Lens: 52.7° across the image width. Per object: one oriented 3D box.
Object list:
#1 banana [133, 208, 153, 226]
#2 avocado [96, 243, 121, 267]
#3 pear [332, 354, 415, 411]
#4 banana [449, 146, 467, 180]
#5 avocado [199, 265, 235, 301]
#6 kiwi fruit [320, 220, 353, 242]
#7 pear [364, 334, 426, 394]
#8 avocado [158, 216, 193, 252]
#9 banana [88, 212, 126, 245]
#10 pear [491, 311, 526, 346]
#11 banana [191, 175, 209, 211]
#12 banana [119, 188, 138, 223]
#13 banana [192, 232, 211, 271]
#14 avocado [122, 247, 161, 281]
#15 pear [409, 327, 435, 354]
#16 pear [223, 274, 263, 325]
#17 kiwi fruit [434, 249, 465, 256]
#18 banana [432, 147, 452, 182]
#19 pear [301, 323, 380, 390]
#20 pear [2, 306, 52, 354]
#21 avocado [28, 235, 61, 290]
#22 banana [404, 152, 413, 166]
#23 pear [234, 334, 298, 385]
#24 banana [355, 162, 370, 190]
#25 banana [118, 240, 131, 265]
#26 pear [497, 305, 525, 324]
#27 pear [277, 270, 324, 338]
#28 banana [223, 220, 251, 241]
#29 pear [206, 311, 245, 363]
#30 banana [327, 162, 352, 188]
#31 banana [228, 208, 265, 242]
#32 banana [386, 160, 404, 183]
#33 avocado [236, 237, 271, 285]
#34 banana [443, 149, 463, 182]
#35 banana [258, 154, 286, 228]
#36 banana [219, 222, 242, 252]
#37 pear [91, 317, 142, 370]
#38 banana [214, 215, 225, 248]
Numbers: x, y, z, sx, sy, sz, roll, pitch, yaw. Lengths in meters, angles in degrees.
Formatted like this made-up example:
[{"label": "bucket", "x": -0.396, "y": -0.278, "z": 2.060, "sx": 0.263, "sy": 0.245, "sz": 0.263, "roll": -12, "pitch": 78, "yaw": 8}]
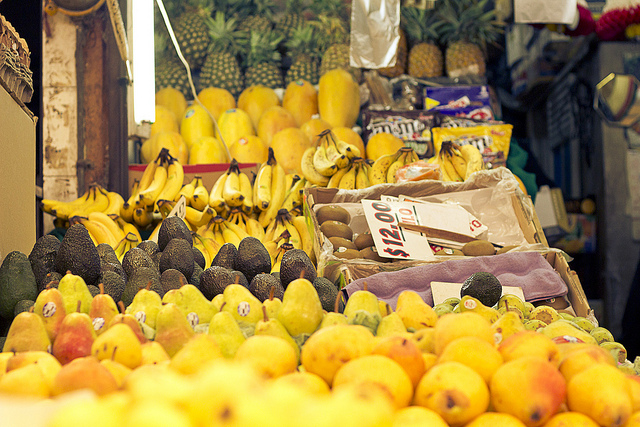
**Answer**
[{"label": "banana", "x": -1.276, "y": 0.027, "z": 4.660, "sx": 0.057, "sy": 0.083, "sz": 0.227, "roll": 13, "pitch": -21, "yaw": -1}, {"label": "avocado", "x": -1.104, "y": 0.215, "z": 3.370, "sx": 0.058, "sy": 0.169, "sz": 0.070, "roll": -19, "pitch": -5, "yaw": 32}, {"label": "pear", "x": 0.137, "y": 0.639, "z": 2.433, "sx": 0.250, "sy": 0.142, "sz": 0.246, "roll": 14, "pitch": -7, "yaw": -38}, {"label": "banana", "x": 1.055, "y": -0.398, "z": 4.994, "sx": 0.069, "sy": 0.287, "sz": 0.094, "roll": -21, "pitch": -22, "yaw": -3}, {"label": "avocado", "x": -0.512, "y": 0.335, "z": 3.145, "sx": 0.126, "sy": 0.111, "sz": 0.179, "roll": 0, "pitch": 4, "yaw": -4}, {"label": "kiwi fruit", "x": 0.106, "y": 0.101, "z": 4.023, "sx": 0.149, "sy": 0.095, "sz": 0.113, "roll": 9, "pitch": 9, "yaw": -37}, {"label": "pear", "x": 0.264, "y": 0.555, "z": 2.414, "sx": 0.182, "sy": 0.250, "sz": 0.188, "roll": 2, "pitch": 0, "yaw": -7}, {"label": "avocado", "x": -0.838, "y": 0.096, "z": 3.691, "sx": 0.154, "sy": 0.241, "sz": 0.130, "roll": -1, "pitch": -1, "yaw": -7}, {"label": "banana", "x": -1.460, "y": 0.106, "z": 4.421, "sx": 0.056, "sy": 0.216, "sz": 0.070, "roll": -38, "pitch": -11, "yaw": -7}, {"label": "pear", "x": 0.760, "y": 0.464, "z": 2.589, "sx": 0.097, "sy": 0.136, "sz": 0.081, "roll": 18, "pitch": -27, "yaw": 13}, {"label": "banana", "x": -0.892, "y": -0.139, "z": 4.797, "sx": 0.126, "sy": 0.181, "sz": 0.369, "roll": -8, "pitch": 20, "yaw": -5}, {"label": "banana", "x": -1.388, "y": -0.054, "z": 4.682, "sx": 0.074, "sy": 0.159, "sz": 0.238, "roll": 18, "pitch": 25, "yaw": -8}, {"label": "banana", "x": -0.721, "y": 0.239, "z": 3.926, "sx": 0.051, "sy": 0.206, "sz": 0.070, "roll": -28, "pitch": -5, "yaw": -1}, {"label": "avocado", "x": -0.930, "y": 0.239, "z": 3.323, "sx": 0.114, "sy": 0.223, "sz": 0.126, "roll": -29, "pitch": -3, "yaw": 16}, {"label": "pear", "x": 0.408, "y": 0.487, "z": 2.509, "sx": 0.070, "sy": 0.063, "sz": 0.098, "roll": -4, "pitch": 17, "yaw": 2}, {"label": "pear", "x": -0.330, "y": 0.385, "z": 2.752, "sx": 0.099, "sy": 0.212, "sz": 0.075, "roll": -11, "pitch": -32, "yaw": 0}, {"label": "kiwi fruit", "x": 0.790, "y": 0.239, "z": 3.951, "sx": 0.176, "sy": 0.038, "sz": 0.062, "roll": -3, "pitch": 4, "yaw": 6}, {"label": "banana", "x": 0.935, "y": -0.366, "z": 4.956, "sx": 0.132, "sy": 0.259, "sz": 0.150, "roll": -25, "pitch": 5, "yaw": -10}, {"label": "pear", "x": 0.047, "y": 0.494, "z": 2.542, "sx": 0.301, "sy": 0.267, "sz": 0.239, "roll": -15, "pitch": 17, "yaw": -1}, {"label": "pear", "x": -1.167, "y": 0.478, "z": 2.629, "sx": 0.154, "sy": 0.247, "sz": 0.166, "roll": 3, "pitch": -10, "yaw": -18}, {"label": "avocado", "x": -1.391, "y": 0.254, "z": 3.287, "sx": 0.124, "sy": 0.278, "sz": 0.138, "roll": 6, "pitch": -8, "yaw": -41}, {"label": "banana", "x": 0.667, "y": -0.420, "z": 4.897, "sx": 0.066, "sy": 0.083, "sz": 0.035, "roll": -3, "pitch": 4, "yaw": -5}, {"label": "pear", "x": -0.207, "y": 0.533, "z": 2.455, "sx": 0.165, "sy": 0.188, "sz": 0.167, "roll": 1, "pitch": 1, "yaw": 5}, {"label": "banana", "x": 0.313, "y": -0.262, "z": 4.861, "sx": 0.065, "sy": 0.271, "sz": 0.090, "roll": -21, "pitch": -24, "yaw": 14}, {"label": "banana", "x": -1.132, "y": 0.225, "z": 3.739, "sx": 0.027, "sy": 0.119, "sz": 0.031, "roll": 23, "pitch": 5, "yaw": 21}, {"label": "pear", "x": 0.892, "y": 0.451, "z": 2.987, "sx": 0.106, "sy": 0.082, "sz": 0.137, "roll": 3, "pitch": 2, "yaw": 6}, {"label": "pear", "x": -0.051, "y": 0.397, "z": 2.746, "sx": 0.249, "sy": 0.309, "sz": 0.257, "roll": 6, "pitch": -8, "yaw": -25}, {"label": "banana", "x": -0.576, "y": 0.120, "z": 4.436, "sx": 0.150, "sy": 0.037, "sz": 0.054, "roll": 36, "pitch": 20, "yaw": 9}, {"label": "pear", "x": -0.376, "y": 0.487, "z": 2.594, "sx": 0.098, "sy": 0.222, "sz": 0.108, "roll": -11, "pitch": -10, "yaw": -13}, {"label": "banana", "x": 0.146, "y": -0.292, "z": 4.859, "sx": 0.062, "sy": 0.179, "sz": 0.044, "roll": 31, "pitch": 6, "yaw": -34}, {"label": "banana", "x": -0.476, "y": 0.117, "z": 4.661, "sx": 0.099, "sy": 0.139, "sz": 0.394, "roll": 5, "pitch": -18, "yaw": 23}, {"label": "banana", "x": 0.551, "y": -0.318, "z": 4.850, "sx": 0.115, "sy": 0.164, "sz": 0.147, "roll": 0, "pitch": 5, "yaw": 33}, {"label": "avocado", "x": -0.350, "y": 0.259, "z": 3.475, "sx": 0.156, "sy": 0.234, "sz": 0.130, "roll": 2, "pitch": -13, "yaw": -26}, {"label": "banana", "x": 1.018, "y": -0.358, "z": 4.945, "sx": 0.050, "sy": 0.248, "sz": 0.082, "roll": -25, "pitch": -13, "yaw": -1}, {"label": "banana", "x": -0.343, "y": -0.157, "z": 4.794, "sx": 0.121, "sy": 0.600, "sz": 0.199, "roll": -8, "pitch": -23, "yaw": 18}, {"label": "banana", "x": -0.592, "y": 0.155, "z": 4.217, "sx": 0.055, "sy": 0.166, "sz": 0.045, "roll": -14, "pitch": -28, "yaw": -49}, {"label": "pear", "x": -0.805, "y": 0.529, "z": 2.589, "sx": 0.177, "sy": 0.273, "sz": 0.182, "roll": 11, "pitch": -13, "yaw": -14}, {"label": "banana", "x": -0.684, "y": 0.128, "z": 4.398, "sx": 0.036, "sy": 0.195, "sz": 0.049, "roll": -11, "pitch": -13, "yaw": -25}]
